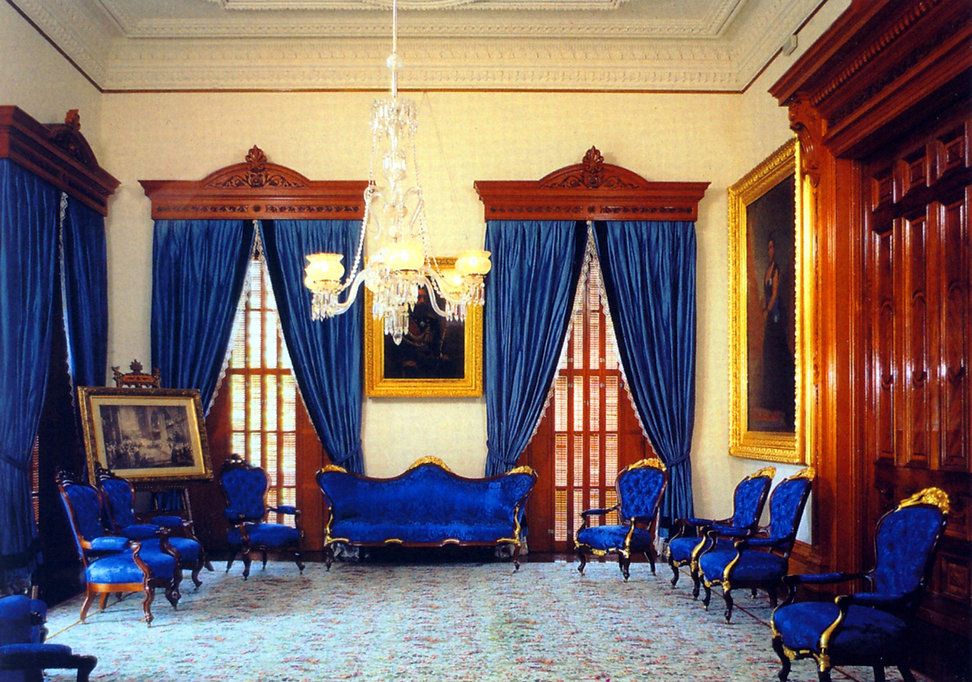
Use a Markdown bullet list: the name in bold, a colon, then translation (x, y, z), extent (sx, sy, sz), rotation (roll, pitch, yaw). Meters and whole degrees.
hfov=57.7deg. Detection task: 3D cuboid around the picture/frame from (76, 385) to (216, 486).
- **picture/frame**: translation (-3.913, 1.089, 10.004), extent (1.129, 1.057, 0.092), rotation (1, -20, -36)
